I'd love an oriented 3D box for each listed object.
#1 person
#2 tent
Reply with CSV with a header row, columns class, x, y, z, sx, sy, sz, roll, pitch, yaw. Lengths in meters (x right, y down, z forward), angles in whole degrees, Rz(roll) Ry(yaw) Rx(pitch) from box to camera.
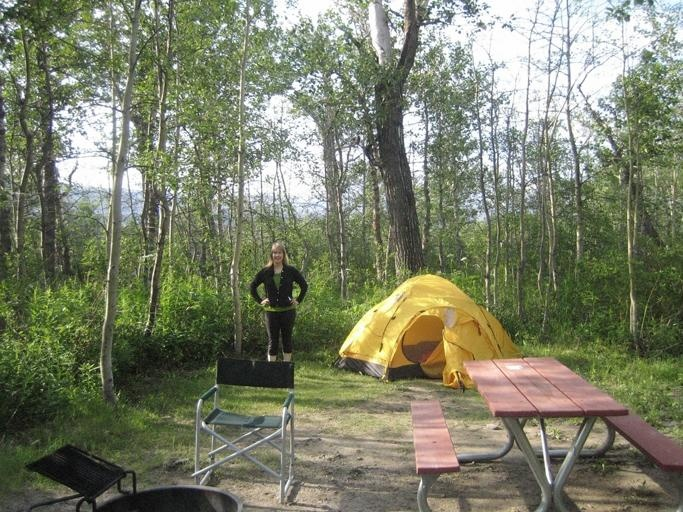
class,x,y,z,sx,sy,sz,roll,pitch,yaw
person,-1.092,0.787,11.740,0.942,2.082,0.481,-1,-4,-9
tent,1.471,1.387,12.188,2.078,1.250,2.335,-3,2,0
